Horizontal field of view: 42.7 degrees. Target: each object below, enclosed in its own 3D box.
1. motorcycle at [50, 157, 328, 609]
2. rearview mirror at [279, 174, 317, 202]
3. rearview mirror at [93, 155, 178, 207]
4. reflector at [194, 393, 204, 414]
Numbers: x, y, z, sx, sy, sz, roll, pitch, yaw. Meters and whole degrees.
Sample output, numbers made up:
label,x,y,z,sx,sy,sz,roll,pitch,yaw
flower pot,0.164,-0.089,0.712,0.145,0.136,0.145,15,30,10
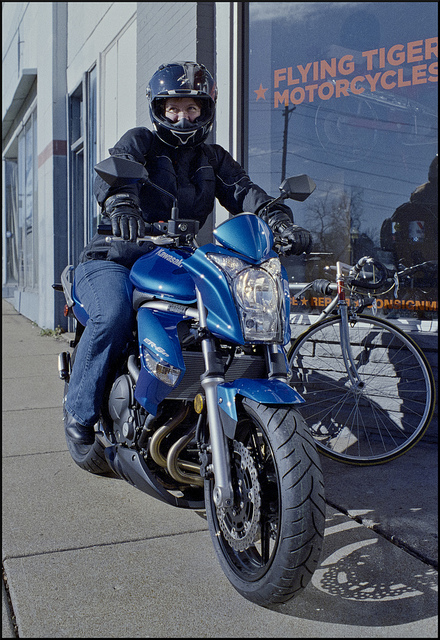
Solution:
label,x,y,z,sx,sy,sz,roll,pitch,yaw
motorcycle,-0.074,0.280,2.107,0.435,1.359,1.181,-1,3,-35
rearview mirror,0.300,-0.520,2.204,0.123,0.095,0.057,-1,-16,9
rearview mirror,-0.283,-0.458,1.856,0.279,0.127,0.100,11,29,-22
reflector,-0.073,0.297,2.025,0.017,0.090,0.080,3,-2,-25
